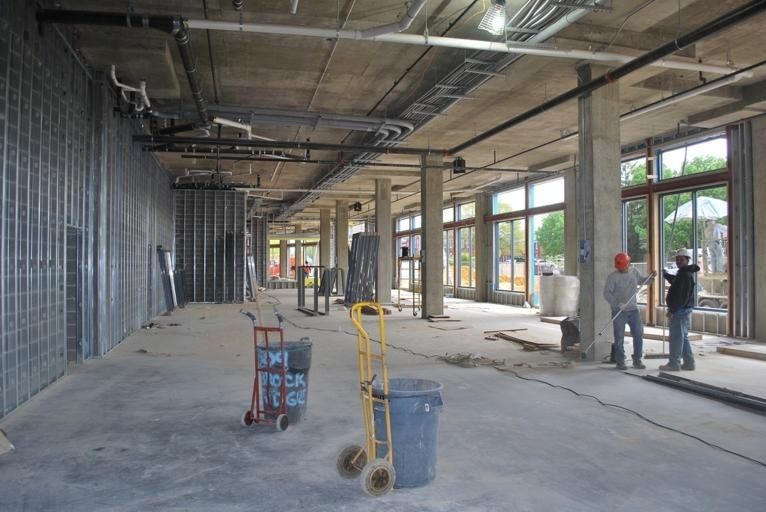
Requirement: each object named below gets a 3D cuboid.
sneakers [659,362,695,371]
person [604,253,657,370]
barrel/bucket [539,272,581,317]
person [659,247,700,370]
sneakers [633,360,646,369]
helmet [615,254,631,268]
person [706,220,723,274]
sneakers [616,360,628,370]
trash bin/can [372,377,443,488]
[{"bbox_3d":[5.374,1.992,10.312,0.473,0.181,0.154,-5,-3,-1],"label":"sneakers"},{"bbox_3d":[4.512,0.997,10.521,0.800,2.073,0.812,4,10,21],"label":"person"},{"bbox_3d":[5.886,1.234,18.627,1.430,1.409,1.372,0,-1,0],"label":"barrel/bucket"},{"bbox_3d":[5.436,0.999,10.361,0.649,2.160,1.023,5,10,28],"label":"person"},{"bbox_3d":[4.714,1.985,10.443,0.208,0.124,0.125,-8,-9,37],"label":"sneakers"},{"bbox_3d":[4.462,0.085,10.518,0.296,0.261,0.272,0,-1,-20],"label":"helmet"},{"bbox_3d":[8.752,-0.240,14.861,0.219,1.331,0.631,-3,10,-16],"label":"person"},{"bbox_3d":[4.389,1.985,10.406,0.182,0.113,0.255,3,8,22],"label":"sneakers"},{"bbox_3d":[0.337,2.027,6.727,1.266,1.115,1.047,-1,-11,2],"label":"trash bin/can"}]
